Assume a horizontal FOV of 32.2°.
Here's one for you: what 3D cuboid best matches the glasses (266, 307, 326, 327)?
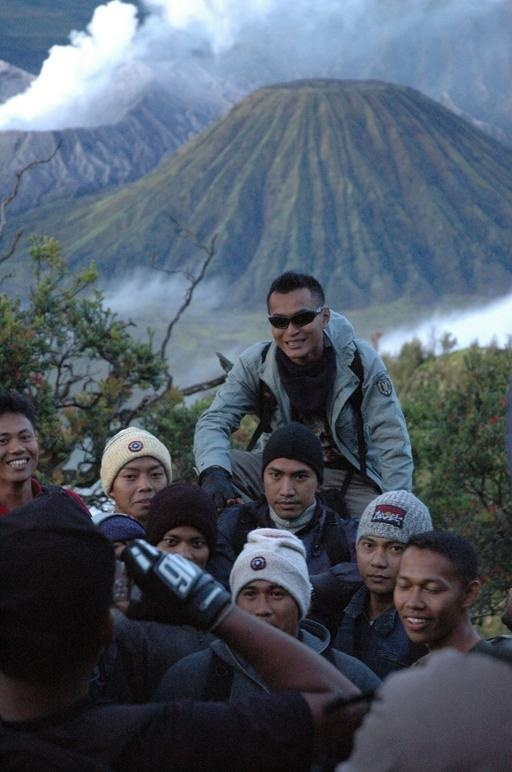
[{"bbox_3d":[0.220,-0.366,4.796,0.299,0.070,0.183,-6,4,3],"label":"glasses"}]

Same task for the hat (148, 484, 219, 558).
[{"bbox_3d":[-0.295,0.458,3.215,0.270,0.217,0.269,2,-8,-8],"label":"hat"}]

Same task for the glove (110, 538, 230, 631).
[{"bbox_3d":[-0.162,0.424,1.927,0.139,0.270,0.097,-51,5,37],"label":"glove"}]

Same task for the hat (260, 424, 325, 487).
[{"bbox_3d":[0.206,0.315,4.140,0.304,0.242,0.287,6,-27,6],"label":"hat"}]

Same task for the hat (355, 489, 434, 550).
[{"bbox_3d":[0.597,0.536,3.691,0.220,0.198,0.266,3,-13,24],"label":"hat"}]
